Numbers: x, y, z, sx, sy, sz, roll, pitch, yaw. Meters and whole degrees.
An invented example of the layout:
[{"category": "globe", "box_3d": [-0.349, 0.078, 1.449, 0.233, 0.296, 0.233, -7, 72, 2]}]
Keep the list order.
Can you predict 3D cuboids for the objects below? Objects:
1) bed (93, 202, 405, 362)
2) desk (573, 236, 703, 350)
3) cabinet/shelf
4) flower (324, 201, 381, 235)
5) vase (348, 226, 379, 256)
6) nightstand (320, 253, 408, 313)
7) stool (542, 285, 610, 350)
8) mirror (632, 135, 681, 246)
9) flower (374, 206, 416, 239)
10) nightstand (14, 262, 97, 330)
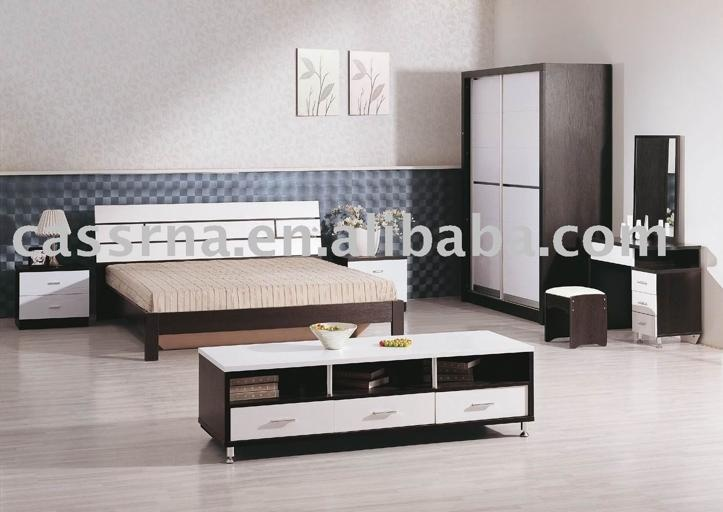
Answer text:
[{"category": "bed", "box_3d": [-1.348, 0.141, 6.690, 2.660, 1.362, 2.419, -3, 7, -23]}, {"category": "desk", "box_3d": [2.919, 0.346, 6.657, 0.605, 0.906, 1.150, -4, 8, -15]}, {"category": "cabinet/shelf", "box_3d": [1.965, -0.786, 7.503, 0.758, 2.978, 1.733, -6, 9, -40]}, {"category": "flower", "box_3d": [-0.156, -0.503, 8.031, 0.473, 0.236, 0.524, 2, 0, -22]}, {"category": "vase", "box_3d": [0.030, -0.180, 7.901, 0.330, 0.283, 0.360, 1, -5, -8]}, {"category": "nightstand", "box_3d": [0.035, 0.504, 7.886, 1.085, 0.884, 0.608, 0, 3, -17]}, {"category": "stool", "box_3d": [2.115, 0.574, 6.496, 0.548, 0.699, 0.690, 0, -1, -14]}, {"category": "mirror", "box_3d": [3.023, -0.715, 6.531, 0.138, 1.081, 0.553, -2, 7, -21]}, {"category": "flower", "box_3d": [0.385, -0.438, 8.196, 0.410, 0.198, 0.403, 2, -12, -20]}, {"category": "nightstand", "box_3d": [-3.312, 0.485, 7.000, 0.778, 0.633, 0.418, -2, -4, -3]}]
